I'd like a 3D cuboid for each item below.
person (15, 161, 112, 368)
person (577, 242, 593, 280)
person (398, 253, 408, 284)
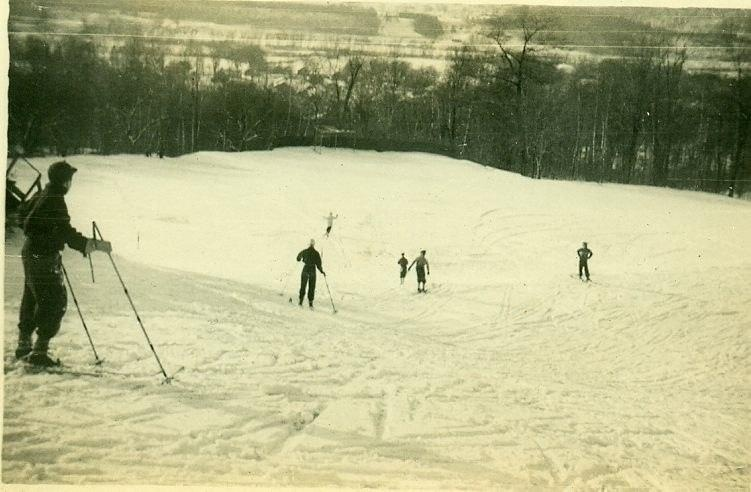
[{"bbox_3d":[-6.327,0.356,16.964,1.355,3.997,0.656,1,6,-17],"label":"person"},{"bbox_3d":[5.448,0.366,22.521,0.401,0.956,0.547,4,6,12],"label":"person"},{"bbox_3d":[0.746,0.567,22.916,0.296,0.735,0.579,3,6,-1],"label":"person"}]
